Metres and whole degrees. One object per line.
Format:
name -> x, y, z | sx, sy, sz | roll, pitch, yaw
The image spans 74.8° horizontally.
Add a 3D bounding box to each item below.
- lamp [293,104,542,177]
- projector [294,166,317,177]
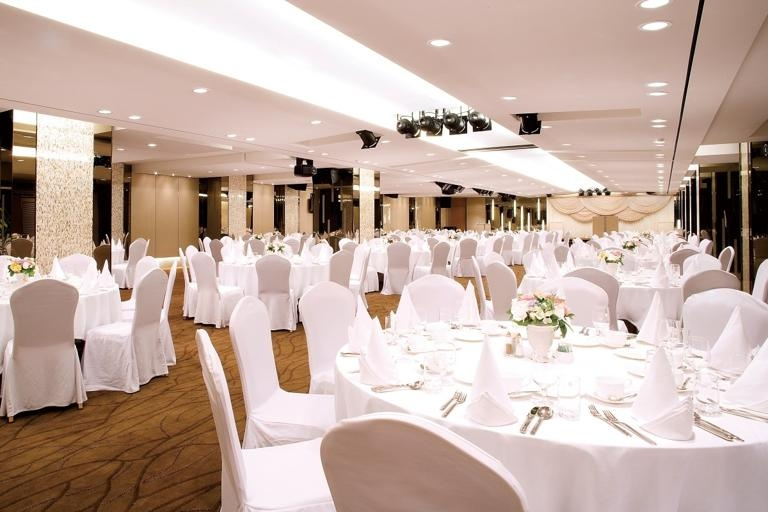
lamp -> 0.574, -2.461, 10.640 | 4.405, 1.108, 0.770 | 4, 15, 44
projector -> -2.052, -2.260, 13.400 | 0.320, 0.317, 0.613 | -1, -2, 29
